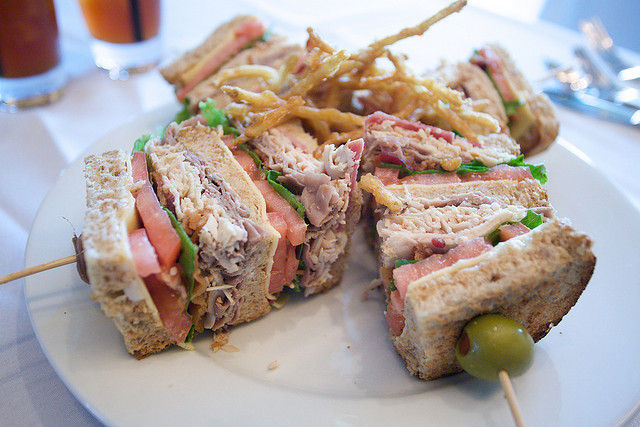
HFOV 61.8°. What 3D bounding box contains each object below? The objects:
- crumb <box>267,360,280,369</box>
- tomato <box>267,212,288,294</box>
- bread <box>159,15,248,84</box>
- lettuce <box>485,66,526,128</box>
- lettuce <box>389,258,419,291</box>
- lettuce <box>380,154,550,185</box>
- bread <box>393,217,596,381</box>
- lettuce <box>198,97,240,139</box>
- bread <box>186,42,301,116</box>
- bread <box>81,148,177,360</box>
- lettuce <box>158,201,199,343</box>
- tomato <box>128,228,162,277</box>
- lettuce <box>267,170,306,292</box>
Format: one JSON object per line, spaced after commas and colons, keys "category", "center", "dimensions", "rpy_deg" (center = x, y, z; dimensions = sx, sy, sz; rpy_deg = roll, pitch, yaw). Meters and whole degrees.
{"category": "crumb", "center": [-0.252, 0.829, 2.910], "dimensions": [0.056, 0.012, 0.035], "rpy_deg": [-20, 53, -23]}
{"category": "tomato", "center": [-0.237, 0.202, 2.985], "dimensions": [0.134, 0.384, 0.262], "rpy_deg": [4, 48, -3]}
{"category": "bread", "center": [-0.879, -1.244, 4.049], "dimensions": [0.559, 0.153, 0.566], "rpy_deg": [-39, 34, -11]}
{"category": "lettuce", "center": [1.375, -0.856, 3.975], "dimensions": [0.102, 0.063, 0.577], "rpy_deg": [6, 56, -42]}
{"category": "lettuce", "center": [0.462, 0.340, 2.954], "dimensions": [0.161, 0.041, 0.157], "rpy_deg": [-16, 75, 11]}
{"category": "lettuce", "center": [0.837, -0.331, 3.433], "dimensions": [0.902, 0.215, 0.184], "rpy_deg": [-4, 65, 25]}
{"category": "bread", "center": [0.944, 0.397, 2.750], "dimensions": [0.914, 0.313, 0.900], "rpy_deg": [-28, 35, -1]}
{"category": "lettuce", "center": [-0.643, -0.619, 3.402], "dimensions": [0.259, 0.287, 0.127], "rpy_deg": [-8, 16, -34]}
{"category": "bread", "center": [-0.584, -0.986, 4.122], "dimensions": [0.860, 0.548, 0.656], "rpy_deg": [-7, 19, 1]}
{"category": "bread", "center": [-1.023, 0.226, 2.911], "dimensions": [0.496, 1.061, 0.467], "rpy_deg": [-15, 27, -35]}
{"category": "lettuce", "center": [-0.698, 0.244, 2.746], "dimensions": [0.107, 0.402, 0.401], "rpy_deg": [-21, 86, -24]}
{"category": "tomato", "center": [-0.907, 0.199, 2.765], "dimensions": [0.116, 0.082, 0.282], "rpy_deg": [-16, 52, -20]}
{"category": "lettuce", "center": [-0.179, -0.049, 3.125], "dimensions": [0.149, 0.491, 0.508], "rpy_deg": [-25, 80, -9]}
